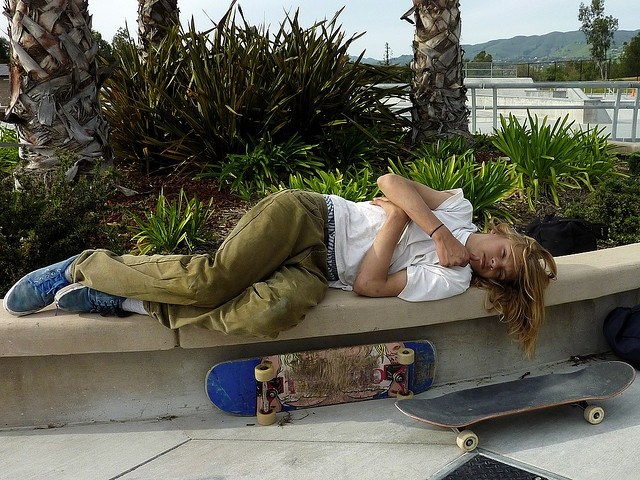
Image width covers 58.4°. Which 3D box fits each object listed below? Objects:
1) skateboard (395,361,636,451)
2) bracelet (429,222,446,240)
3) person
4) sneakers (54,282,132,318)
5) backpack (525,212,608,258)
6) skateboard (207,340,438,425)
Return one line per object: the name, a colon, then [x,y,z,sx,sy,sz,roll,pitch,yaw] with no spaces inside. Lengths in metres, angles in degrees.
skateboard: [1.191,1.043,3.516,0.990,0.167,0.268,-9,12,-9]
bracelet: [0.728,-0.056,3.579,0.067,0.092,0.035,27,-4,41]
person: [-0.033,0.314,3.583,3.166,1.337,0.538,-8,8,-11]
sneakers: [-1.343,0.347,3.477,0.512,0.175,0.201,-1,25,-12]
backpack: [1.967,-0.059,4.542,0.490,0.192,0.397,-2,9,-18]
skateboard: [0.255,0.855,3.779,1.959,0.474,0.284,-3,12,-13]
